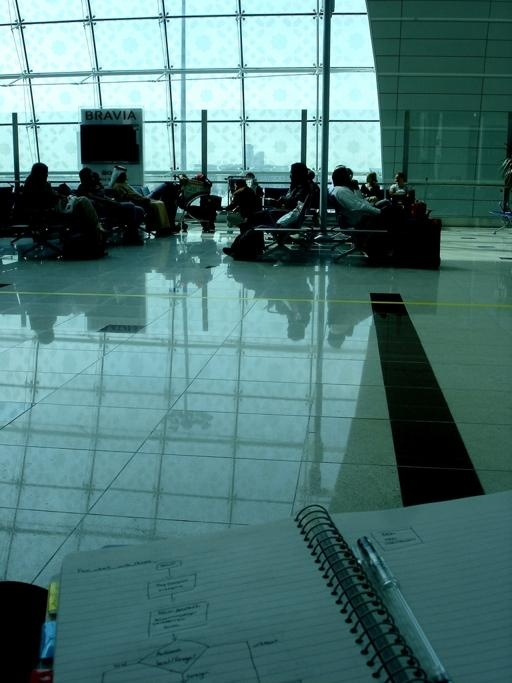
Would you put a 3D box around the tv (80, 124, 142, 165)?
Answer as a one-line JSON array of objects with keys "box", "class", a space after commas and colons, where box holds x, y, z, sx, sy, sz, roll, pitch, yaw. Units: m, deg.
[{"box": [-2.798, -3.902, 11.552, 0.893, 0.565, 0.116, 1, 5, 9], "class": "tv"}]
